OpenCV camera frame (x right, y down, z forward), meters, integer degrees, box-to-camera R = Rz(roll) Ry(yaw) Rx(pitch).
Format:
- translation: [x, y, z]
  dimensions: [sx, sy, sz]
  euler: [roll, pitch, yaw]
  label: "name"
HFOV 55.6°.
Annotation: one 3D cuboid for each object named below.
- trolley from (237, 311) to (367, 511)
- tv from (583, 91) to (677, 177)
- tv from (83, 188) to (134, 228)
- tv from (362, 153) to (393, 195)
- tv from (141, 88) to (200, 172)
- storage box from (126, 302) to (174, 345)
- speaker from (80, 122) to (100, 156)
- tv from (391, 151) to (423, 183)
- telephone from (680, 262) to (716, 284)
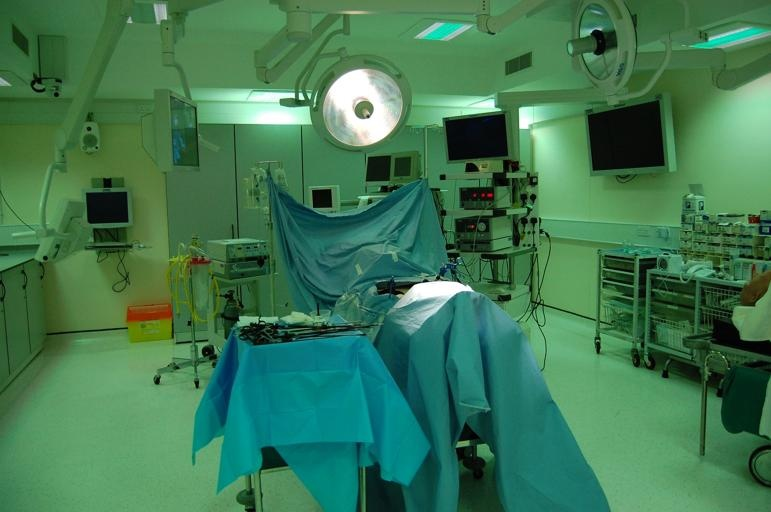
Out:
- translation: [-0.581, 1.175, 5.232]
  dimensions: [0.854, 1.473, 0.675]
  euler: [-4, 7, -12]
  label: "trolley"
- translation: [2.491, -1.240, 7.340]
  dimensions: [0.107, 0.688, 0.915]
  euler: [-10, 8, -31]
  label: "tv"
- translation: [-3.072, -0.540, 8.071]
  dimensions: [0.491, 0.468, 0.052]
  euler: [0, 3, -8]
  label: "tv"
- translation: [-0.097, -0.965, 8.288]
  dimensions: [0.259, 0.389, 0.591]
  euler: [-4, 7, -16]
  label: "tv"
- translation: [-1.529, -0.882, 5.165]
  dimensions: [0.304, 0.551, 0.510]
  euler: [-3, 7, -2]
  label: "tv"
- translation: [-2.693, 0.769, 8.378]
  dimensions: [0.600, 0.451, 0.365]
  euler: [-1, 0, -19]
  label: "storage box"
- translation: [-3.272, -1.330, 8.109]
  dimensions: [0.194, 0.327, 0.220]
  euler: [-5, 7, -24]
  label: "speaker"
- translation: [0.226, -0.976, 7.964]
  dimensions: [0.325, 0.341, 0.265]
  euler: [-3, 7, -1]
  label: "tv"
- translation: [2.870, 0.141, 6.724]
  dimensions: [0.174, 0.084, 0.253]
  euler: [4, 12, 39]
  label: "telephone"
